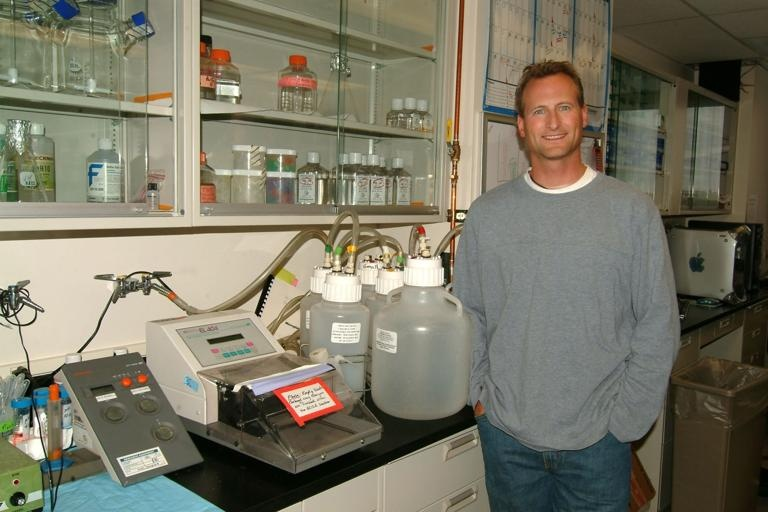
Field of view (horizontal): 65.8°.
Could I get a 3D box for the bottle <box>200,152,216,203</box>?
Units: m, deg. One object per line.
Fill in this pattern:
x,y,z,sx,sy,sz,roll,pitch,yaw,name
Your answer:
-0.696,-0.312,2.314,0.060,0.189,0.177,-6,9,-13,bottle

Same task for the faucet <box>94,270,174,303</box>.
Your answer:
-1.029,0.116,2.437,0.290,0.125,0.136,-7,9,-19,faucet

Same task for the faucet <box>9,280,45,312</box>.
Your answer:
-1.361,0.148,2.222,0.114,0.073,0.154,15,-3,-17,faucet

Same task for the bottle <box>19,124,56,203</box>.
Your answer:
-1.193,-0.327,2.026,0.108,0.261,0.115,-4,9,1,bottle

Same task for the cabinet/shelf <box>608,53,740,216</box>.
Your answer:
2.231,-0.989,4.594,1.692,0.834,0.220,-3,12,-39,cabinet/shelf

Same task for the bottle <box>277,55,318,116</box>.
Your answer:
-0.396,-0.755,2.649,0.174,0.269,0.168,0,14,0,bottle

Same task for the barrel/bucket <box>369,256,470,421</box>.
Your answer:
0.148,0.313,2.330,0.376,0.566,0.372,1,7,0,barrel/bucket

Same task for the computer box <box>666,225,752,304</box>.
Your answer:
2.453,0.036,4.491,0.512,0.473,0.396,4,9,43,computer box

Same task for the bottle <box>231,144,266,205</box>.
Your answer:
-0.561,-0.343,2.433,0.143,0.231,0.115,-5,9,-4,bottle

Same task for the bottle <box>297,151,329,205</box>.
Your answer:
-0.320,-0.342,2.603,0.152,0.219,0.135,2,11,-4,bottle

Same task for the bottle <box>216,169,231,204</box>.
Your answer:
-0.647,-0.286,2.368,0.055,0.128,0.108,-4,9,-1,bottle

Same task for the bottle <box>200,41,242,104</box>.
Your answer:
-0.653,-0.730,2.405,0.113,0.225,0.343,-4,9,-3,bottle

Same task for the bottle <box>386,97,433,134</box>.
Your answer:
0.107,-0.682,2.852,0.212,0.128,0.064,-1,8,-27,bottle

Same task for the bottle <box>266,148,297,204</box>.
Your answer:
-0.436,-0.341,2.484,0.141,0.224,0.097,-5,9,-8,bottle

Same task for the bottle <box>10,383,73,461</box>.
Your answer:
-1.140,0.533,1.949,0.230,0.217,0.052,0,-8,-14,bottle

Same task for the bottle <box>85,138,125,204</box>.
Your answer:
-1.013,-0.309,2.155,0.167,0.222,0.162,4,11,-1,bottle
